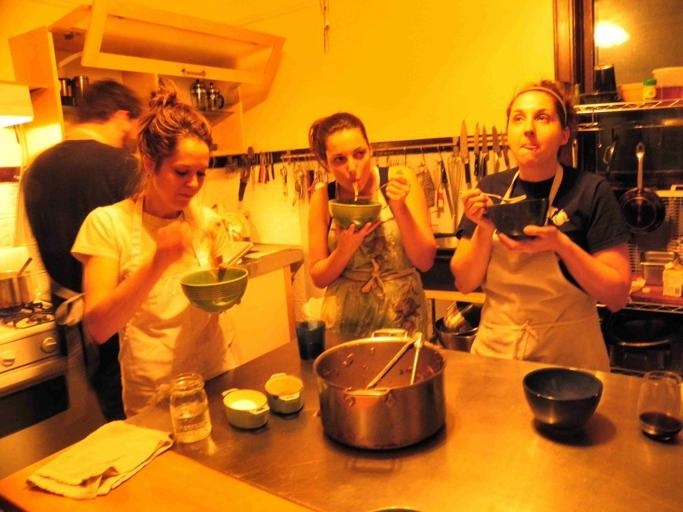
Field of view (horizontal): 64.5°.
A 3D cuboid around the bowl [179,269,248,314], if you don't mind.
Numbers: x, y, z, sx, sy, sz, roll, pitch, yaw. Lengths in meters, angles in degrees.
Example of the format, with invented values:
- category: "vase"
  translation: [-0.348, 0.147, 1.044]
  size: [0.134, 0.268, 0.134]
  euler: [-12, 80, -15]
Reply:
- category: "bowl"
  translation: [-0.404, 0.120, 1.765]
  size: [0.204, 0.143, 0.171]
  euler: [-17, 17, -43]

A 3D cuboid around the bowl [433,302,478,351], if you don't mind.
- category: "bowl"
  translation: [0.638, 0.372, 2.929]
  size: [0.197, 0.090, 0.257]
  euler: [10, 20, 31]

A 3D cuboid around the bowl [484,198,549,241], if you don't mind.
- category: "bowl"
  translation: [0.590, -0.115, 1.803]
  size: [0.155, 0.091, 0.146]
  euler: [1, -1, 0]

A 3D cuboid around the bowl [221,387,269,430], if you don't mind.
- category: "bowl"
  translation: [-0.285, 0.467, 1.640]
  size: [0.125, 0.068, 0.195]
  euler: [-13, 16, -39]

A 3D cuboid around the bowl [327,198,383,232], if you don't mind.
- category: "bowl"
  translation: [0.056, -0.161, 2.072]
  size: [0.193, 0.118, 0.148]
  euler: [-5, 12, 2]

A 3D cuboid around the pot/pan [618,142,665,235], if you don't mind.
- category: "pot/pan"
  translation: [1.636, -0.367, 2.945]
  size: [0.240, 0.476, 0.136]
  euler: [3, 15, 43]

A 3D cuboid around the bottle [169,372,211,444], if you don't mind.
- category: "bottle"
  translation: [-0.452, 0.456, 1.614]
  size: [0.114, 0.171, 0.110]
  euler: [-7, 2, 0]

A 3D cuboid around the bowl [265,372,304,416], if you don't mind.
- category: "bowl"
  translation: [-0.175, 0.423, 1.670]
  size: [0.095, 0.051, 0.144]
  euler: [-9, 19, -19]

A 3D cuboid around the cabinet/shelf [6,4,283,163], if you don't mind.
- category: "cabinet/shelf"
  translation: [-1.211, -1.074, 3.219]
  size: [0.754, 0.763, 1.614]
  euler: [9, 14, 36]

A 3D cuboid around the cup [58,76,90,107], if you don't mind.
- category: "cup"
  translation: [-1.553, -0.953, 3.122]
  size: [0.129, 0.198, 0.215]
  euler: [1, 13, -7]

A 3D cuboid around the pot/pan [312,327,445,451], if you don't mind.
- category: "pot/pan"
  translation: [0.114, 0.391, 1.546]
  size: [0.316, 0.147, 0.377]
  euler: [-3, 11, 3]
